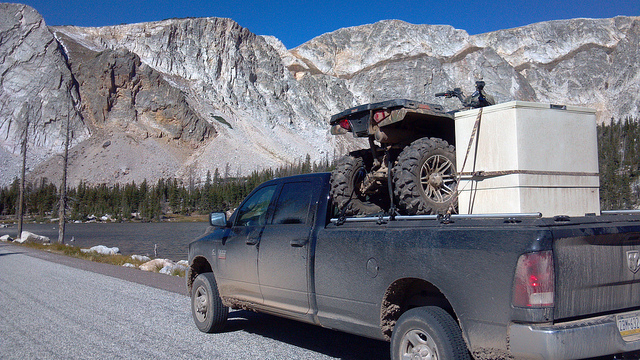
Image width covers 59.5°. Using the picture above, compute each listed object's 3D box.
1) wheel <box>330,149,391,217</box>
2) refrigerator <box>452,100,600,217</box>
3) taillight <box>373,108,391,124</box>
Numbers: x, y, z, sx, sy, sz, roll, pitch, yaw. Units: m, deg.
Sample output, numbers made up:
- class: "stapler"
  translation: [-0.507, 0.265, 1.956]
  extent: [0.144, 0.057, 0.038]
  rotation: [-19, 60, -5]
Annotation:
- class: "wheel"
  translation: [0.723, 0.192, 12.750]
  extent: [0.374, 1.285, 1.475]
  rotation: [-4, -5, 39]
- class: "refrigerator"
  translation: [4.248, -0.330, 11.720]
  extent: [2.428, 2.258, 1.798]
  rotation: [0, -2, -28]
- class: "taillight"
  translation: [1.368, -1.476, 12.640]
  extent: [0.322, 0.289, 0.075]
  rotation: [0, 6, -18]
